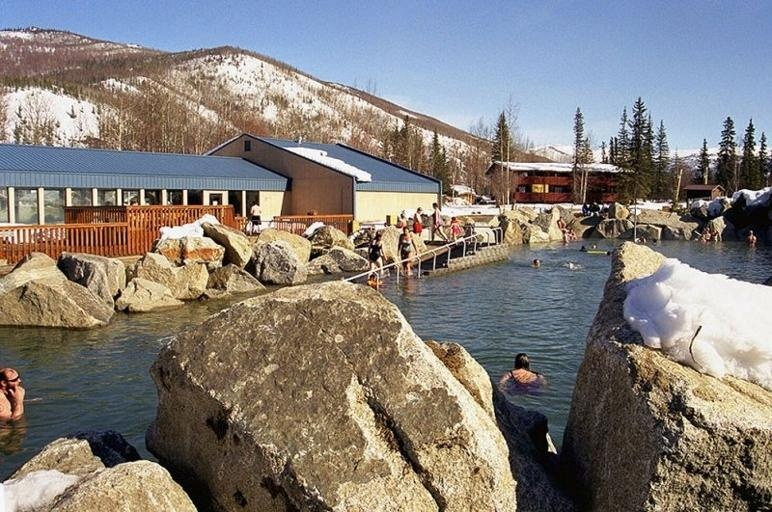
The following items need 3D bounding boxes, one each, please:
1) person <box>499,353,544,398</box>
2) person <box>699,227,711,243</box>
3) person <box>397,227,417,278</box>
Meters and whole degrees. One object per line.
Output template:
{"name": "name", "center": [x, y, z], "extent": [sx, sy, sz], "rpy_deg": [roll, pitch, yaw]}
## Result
{"name": "person", "center": [2.847, 2.567, 14.571], "extent": [0.984, 0.618, 1.159], "rpy_deg": [1, 51, 8]}
{"name": "person", "center": [24.982, -1.673, 54.215], "extent": [0.816, 0.806, 2.869], "rpy_deg": [6, 13, 25]}
{"name": "person", "center": [0.914, -0.217, 29.992], "extent": [0.756, 2.387, 0.659], "rpy_deg": [-4, 28, -4]}
